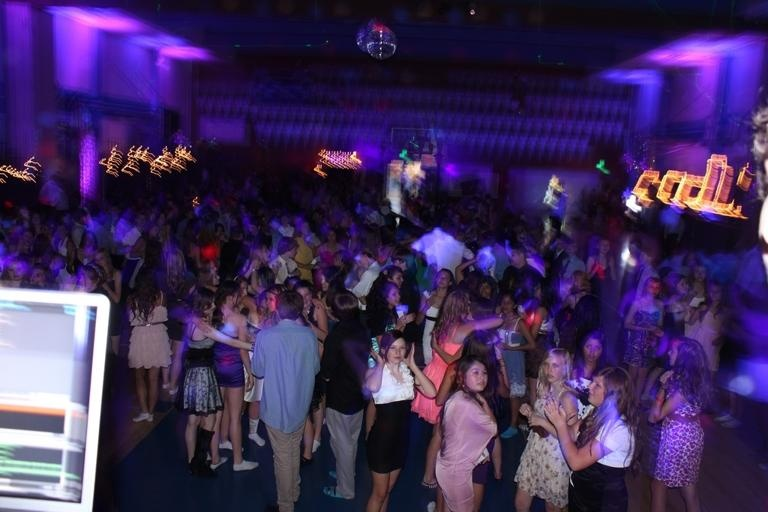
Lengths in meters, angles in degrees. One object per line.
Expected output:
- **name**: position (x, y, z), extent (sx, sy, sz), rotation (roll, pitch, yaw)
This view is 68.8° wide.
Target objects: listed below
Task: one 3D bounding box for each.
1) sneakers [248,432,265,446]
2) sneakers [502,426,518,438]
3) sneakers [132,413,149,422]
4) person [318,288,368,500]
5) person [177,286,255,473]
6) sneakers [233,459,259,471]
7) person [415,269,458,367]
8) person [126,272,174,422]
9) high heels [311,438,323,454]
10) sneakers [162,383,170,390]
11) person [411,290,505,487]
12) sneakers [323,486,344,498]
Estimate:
- **sneakers**: position (-1.602, 2.299, 7.035), extent (0.204, 0.089, 0.115), rotation (25, 40, 23)
- **sneakers**: position (1.644, 2.319, 7.356), extent (0.210, 0.088, 0.109), rotation (-21, 14, -32)
- **sneakers**: position (-3.180, 2.124, 7.345), extent (0.217, 0.100, 0.094), rotation (-6, 27, -14)
- **person**: position (-0.435, 1.497, 5.944), extent (0.501, 2.253, 0.252), rotation (3, 4, -4)
- **person**: position (-2.174, 1.419, 6.624), extent (0.672, 2.157, 1.564), rotation (1, 4, -38)
- **sneakers**: position (-1.625, 2.447, 6.527), extent (0.213, 0.091, 0.121), rotation (-2, 2, -12)
- **person**: position (0.664, 1.022, 7.352), extent (0.476, 1.592, 0.439), rotation (6, 13, 6)
- **person**: position (-3.066, 1.216, 7.290), extent (0.488, 1.927, 0.425), rotation (1, 4, -27)
- **high heels**: position (-0.844, 2.393, 7.027), extent (0.108, 0.102, 0.101), rotation (5, -2, 17)
- **sneakers**: position (-3.196, 1.914, 8.203), extent (0.054, 0.069, 0.155), rotation (2, 6, -1)
- **person**: position (0.829, 1.495, 6.478), extent (1.173, 2.141, 1.163), rotation (-5, 10, -41)
- **sneakers**: position (-0.562, 2.645, 6.254), extent (0.220, 0.056, 0.097), rotation (3, 42, 4)
